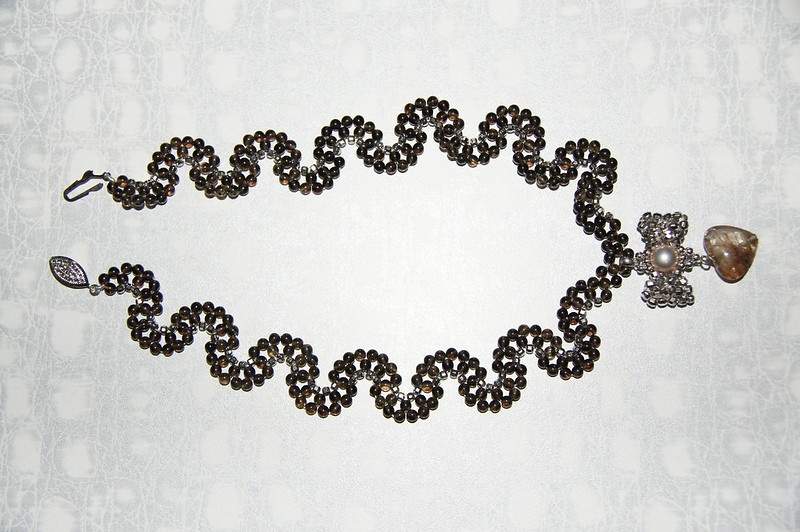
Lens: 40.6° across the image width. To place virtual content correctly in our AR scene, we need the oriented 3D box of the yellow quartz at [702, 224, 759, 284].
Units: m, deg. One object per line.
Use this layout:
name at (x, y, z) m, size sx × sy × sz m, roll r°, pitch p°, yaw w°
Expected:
yellow quartz at (1.215, -0.048, 4.029) m, size 0.185 × 0.081 × 0.188 m, roll 18°, pitch 83°, yaw 4°
